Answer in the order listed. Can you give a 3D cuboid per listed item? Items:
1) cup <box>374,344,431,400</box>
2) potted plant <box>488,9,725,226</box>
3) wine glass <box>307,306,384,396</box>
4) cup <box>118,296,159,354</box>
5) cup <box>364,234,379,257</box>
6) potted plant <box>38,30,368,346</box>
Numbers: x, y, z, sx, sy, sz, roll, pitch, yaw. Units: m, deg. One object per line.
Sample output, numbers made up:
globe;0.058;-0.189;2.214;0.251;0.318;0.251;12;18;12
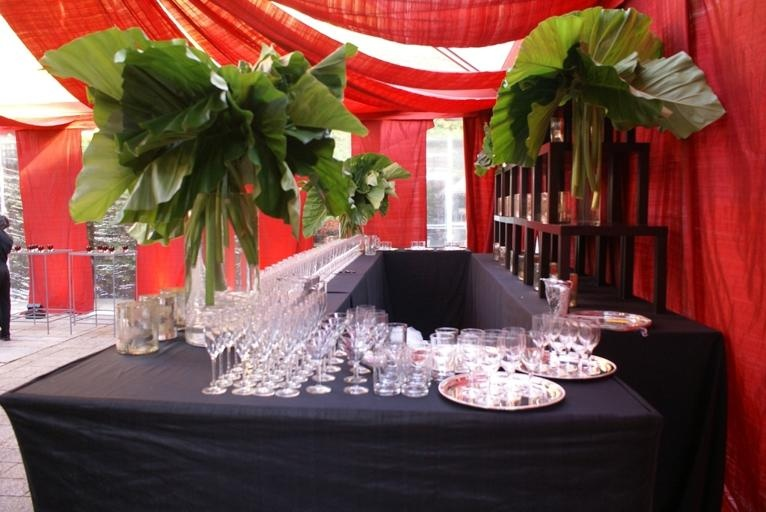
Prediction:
cup;0.090;0.478;2.207;0.265;0.200;0.149;0;3;0
potted plant;1.448;-0.855;3.454;1.254;0.924;1.239;-23;32;-32
wine glass;-0.162;0.385;2.309;0.294;0.239;0.370;2;3;5
cup;-1.261;0.341;2.675;0.232;0.271;0.229;1;2;0
cup;-0.128;-0.135;6.561;0.194;0.237;0.203;0;-3;0
potted plant;-0.760;-0.276;2.543;1.174;0.954;1.217;4;8;-5
